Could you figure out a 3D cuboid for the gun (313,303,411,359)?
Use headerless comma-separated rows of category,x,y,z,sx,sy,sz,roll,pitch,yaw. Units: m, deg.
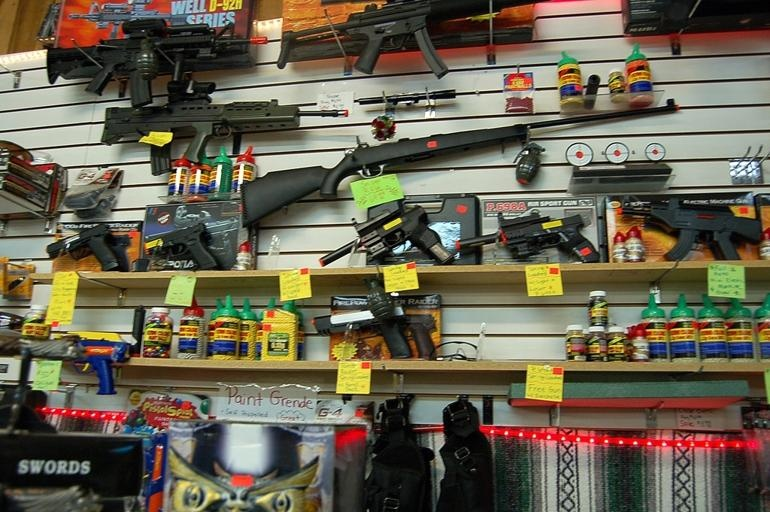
gun,-0.102,0.409,3.383,0.662,0.230,0.093,-2,-9,10

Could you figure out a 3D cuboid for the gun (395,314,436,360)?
gun,0.173,0.431,3.335,0.201,0.188,0.197,-3,1,4

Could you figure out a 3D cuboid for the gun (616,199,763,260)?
gun,1.628,-0.129,3.255,0.662,0.233,0.059,4,-37,14

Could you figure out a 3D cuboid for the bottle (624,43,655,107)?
bottle,1.453,-1.022,3.536,0.141,0.233,0.141,-4,1,0

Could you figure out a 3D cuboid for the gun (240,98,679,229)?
gun,0.283,-0.506,3.654,2.293,0.573,0.235,-1,1,-2

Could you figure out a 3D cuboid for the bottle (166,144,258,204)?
bottle,-1.041,-0.479,3.757,0.741,0.242,0.121,-5,-21,7
